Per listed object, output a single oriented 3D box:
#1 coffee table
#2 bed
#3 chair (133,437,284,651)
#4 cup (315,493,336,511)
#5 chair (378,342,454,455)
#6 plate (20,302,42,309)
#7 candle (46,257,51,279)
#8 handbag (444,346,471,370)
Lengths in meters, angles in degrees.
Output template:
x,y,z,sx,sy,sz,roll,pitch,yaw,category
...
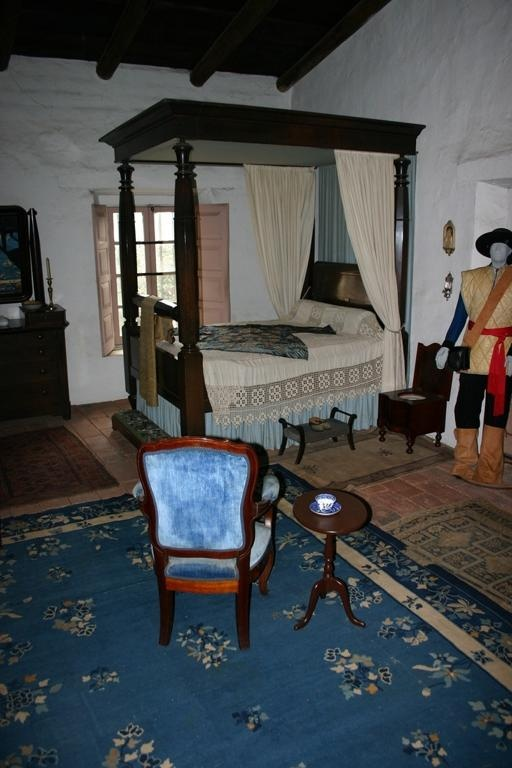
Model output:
x,y,z,sx,sy,sz,roll,pitch,yaw,category
0.413,0.970,2.937,0.383,0.666,0.407,7,21,20,coffee table
0.028,-1.386,6.786,3.723,4.208,2.510,-6,12,-29,bed
-0.226,0.671,2.626,0.652,1.125,0.675,2,17,2,chair
0.338,0.575,2.681,0.074,0.051,0.073,0,18,0,cup
1.531,0.083,5.243,0.661,1.000,0.664,4,13,19,chair
-2.494,-0.863,5.998,0.113,0.048,0.108,-5,17,-2,plate
-2.415,-1.346,6.319,0.063,0.232,0.121,-5,12,-23,candle
1.626,-0.211,4.366,0.074,0.161,0.153,-7,15,-30,handbag
